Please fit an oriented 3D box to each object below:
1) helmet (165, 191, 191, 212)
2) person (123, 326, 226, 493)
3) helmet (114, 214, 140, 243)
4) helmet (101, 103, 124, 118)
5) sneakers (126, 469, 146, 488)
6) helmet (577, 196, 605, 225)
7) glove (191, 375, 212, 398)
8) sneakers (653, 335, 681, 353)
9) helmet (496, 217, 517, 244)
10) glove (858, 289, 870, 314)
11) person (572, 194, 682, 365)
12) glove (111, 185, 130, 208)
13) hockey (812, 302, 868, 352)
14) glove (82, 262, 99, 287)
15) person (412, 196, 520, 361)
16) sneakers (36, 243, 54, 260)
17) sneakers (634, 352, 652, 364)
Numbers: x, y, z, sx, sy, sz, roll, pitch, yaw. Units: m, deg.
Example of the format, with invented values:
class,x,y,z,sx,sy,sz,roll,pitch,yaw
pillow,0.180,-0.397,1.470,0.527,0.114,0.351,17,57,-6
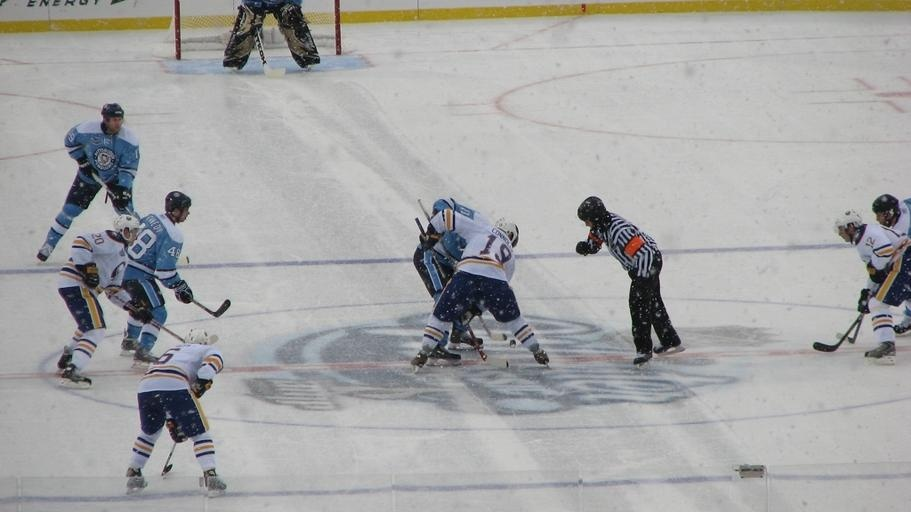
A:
class,x,y,z,sx,sy,sz,roll,pitch,yaw
helmet,-3.460,-0.669,17.924,0.329,0.217,0.224,6,16,12
person,-3.227,1.751,16.404,1.113,1.514,1.109,-3,23,-5
helmet,-4.046,-0.349,17.835,0.369,0.301,0.288,1,9,-45
helmet,-4.619,-1.933,19.336,0.240,0.165,0.208,7,22,17
sneakers,-3.627,2.506,16.233,0.264,0.216,0.167,-1,-2,-1
helmet,1.664,-0.557,17.892,0.389,0.337,0.299,2,22,29
glove,-2.906,1.495,16.463,0.217,0.197,0.236,12,-16,-5
sneakers,2.605,1.101,17.885,0.417,0.145,0.142,-20,15,-1
helmet,0.597,-0.318,18.214,0.335,0.293,0.256,6,9,-39
glove,5.008,0.564,17.815,0.095,0.252,0.170,4,0,3
person,2.175,0.271,17.808,0.758,1.882,1.286,-21,30,-39
glove,-4.571,-0.808,19.614,0.256,0.270,0.310,-3,5,-27
hockey,4.667,0.889,17.886,0.584,0.164,0.566,-35,14,2
glove,-4.448,0.255,17.514,0.168,0.301,0.124,-8,24,-18
person,0.389,0.428,18.031,1.696,0.855,2.321,7,55,-3
sneakers,-5.616,-0.035,19.630,0.178,0.242,0.101,23,-12,-9
sneakers,2.273,1.245,17.687,0.225,0.138,0.136,0,22,1
